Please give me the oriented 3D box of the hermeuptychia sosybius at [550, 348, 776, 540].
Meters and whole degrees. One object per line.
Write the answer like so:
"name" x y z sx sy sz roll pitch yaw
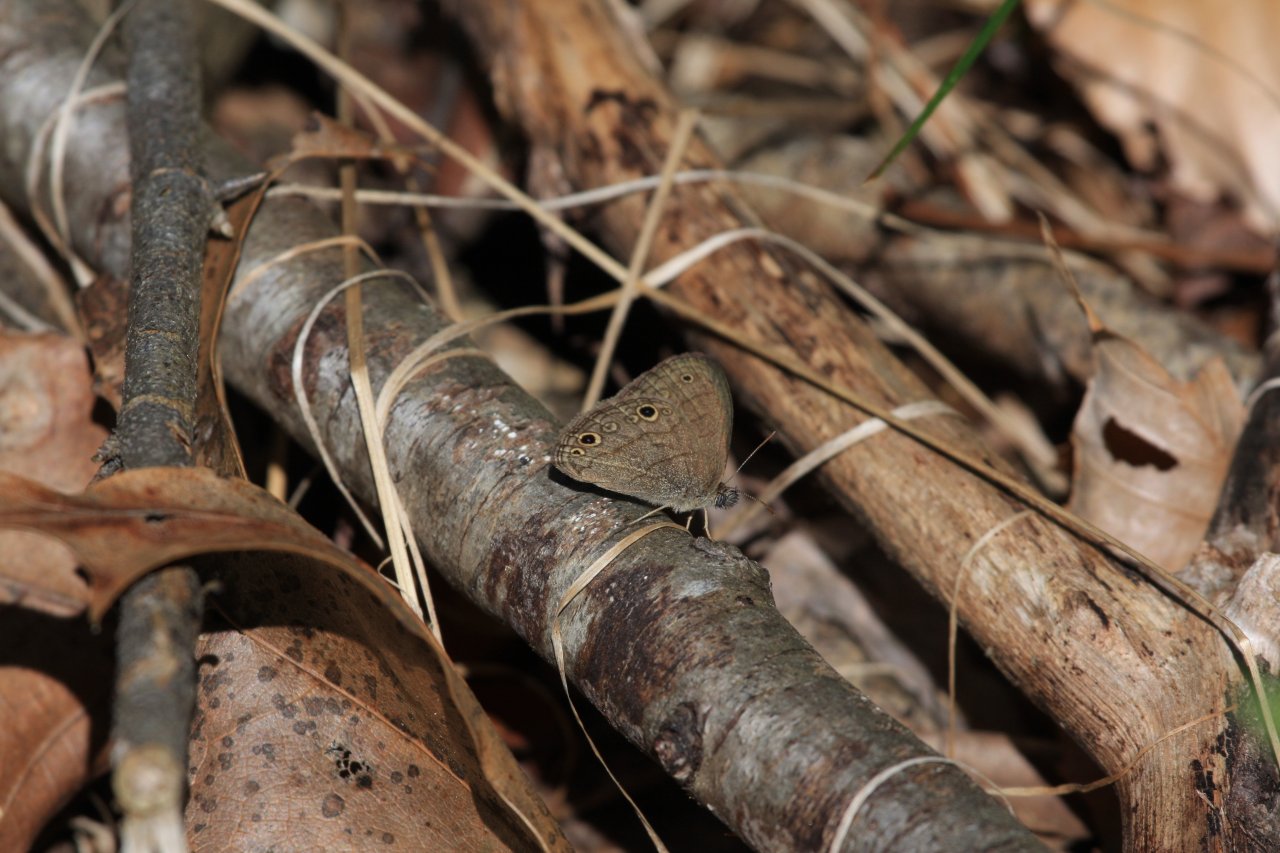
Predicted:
"hermeuptychia sosybius" 0.113 0.061 3.540 0.514 0.266 0.515 -15 19 30
